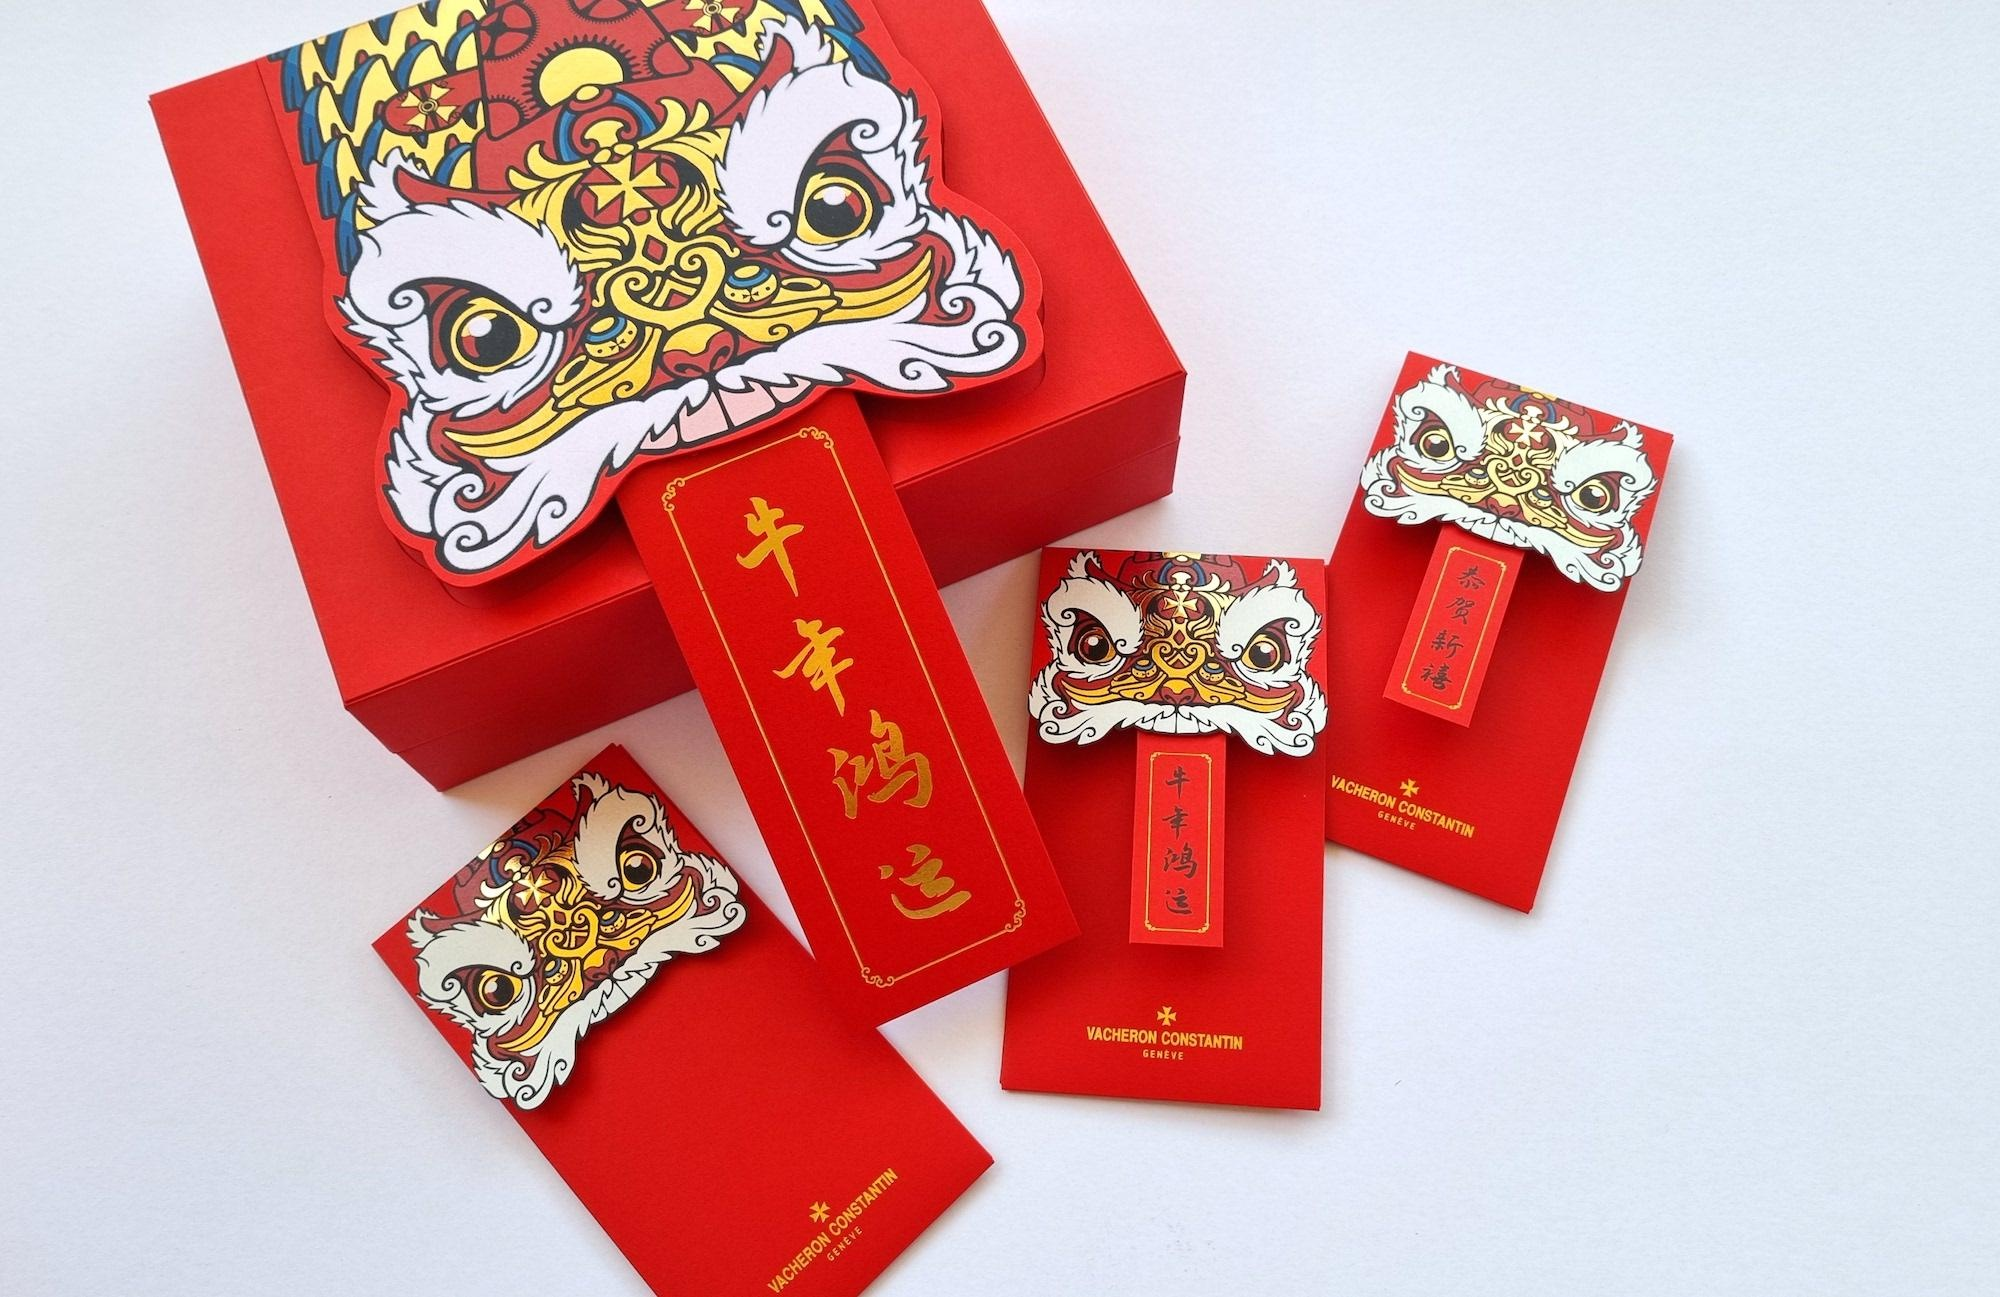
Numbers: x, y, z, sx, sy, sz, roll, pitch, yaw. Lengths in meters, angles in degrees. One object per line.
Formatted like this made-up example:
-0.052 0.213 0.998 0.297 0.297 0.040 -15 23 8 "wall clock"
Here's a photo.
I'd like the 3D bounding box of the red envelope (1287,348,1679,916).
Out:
0.502 -0.019 2.011 0.304 0.444 0.414 10 40 24 "red envelope"
